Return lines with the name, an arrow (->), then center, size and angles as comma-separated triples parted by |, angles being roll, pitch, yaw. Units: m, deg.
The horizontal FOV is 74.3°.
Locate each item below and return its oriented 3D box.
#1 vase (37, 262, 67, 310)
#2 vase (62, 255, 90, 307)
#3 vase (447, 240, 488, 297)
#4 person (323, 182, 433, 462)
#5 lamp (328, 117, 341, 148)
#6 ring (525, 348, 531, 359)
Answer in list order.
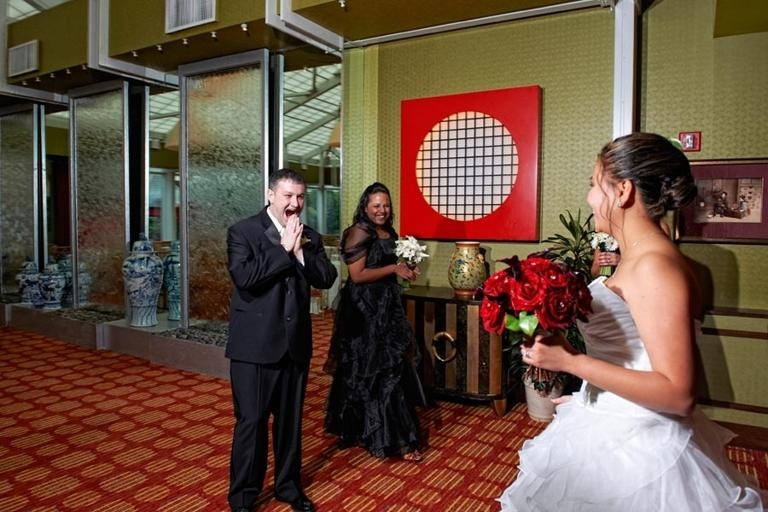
vase -> -5.207, 0.464, 7.933 | 0.335, 0.655, 0.325 | 6, 12, 35
vase -> -4.775, 0.406, 7.864 | 0.363, 0.777, 1.258 | -7, 12, -33
vase -> 0.926, 0.124, 4.922 | 0.456, 0.578, 0.474 | -2, -2, 29
person -> -0.099, 0.510, 4.156 | 0.830, 2.176, 0.675 | 0, 10, 4
lamp -> -0.637, -1.553, 6.404 | 0.138, 0.319, 0.369 | -2, 10, -11
ring -> 0.635, 0.429, 2.253 | 0.038, 0.029, 0.039 | -1, 6, 0
